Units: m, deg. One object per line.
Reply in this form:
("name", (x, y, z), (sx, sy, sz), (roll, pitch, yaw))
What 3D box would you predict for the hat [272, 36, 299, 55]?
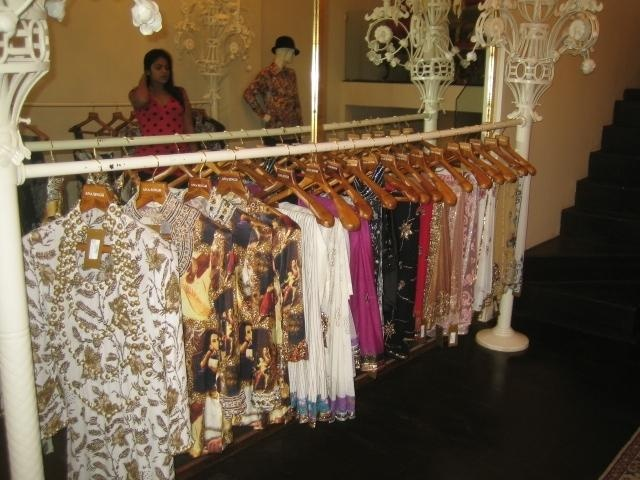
("hat", (-0.277, -1.556, 4.628), (0.222, 0.146, 0.277), (-1, 6, 11))
